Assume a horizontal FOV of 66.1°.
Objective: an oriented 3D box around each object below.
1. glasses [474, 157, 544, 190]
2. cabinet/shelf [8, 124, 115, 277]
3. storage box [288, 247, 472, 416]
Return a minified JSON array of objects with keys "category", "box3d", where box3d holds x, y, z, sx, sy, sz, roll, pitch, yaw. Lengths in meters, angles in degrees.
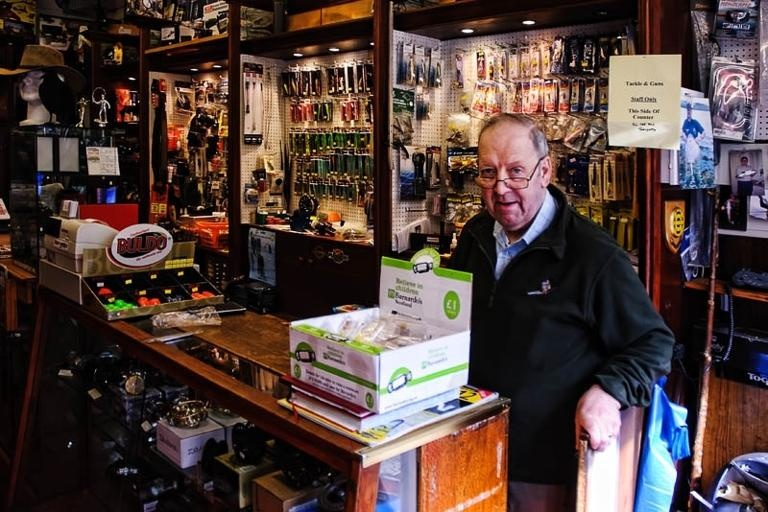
[{"category":"glasses","box3d":[0.597,-0.391,2.803,0.312,0.143,0.124,0,10,11]},{"category":"cabinet/shelf","box3d":[-2.544,-0.515,4.716,0.676,1.070,0.814,-11,14,-42]},{"category":"storage box","box3d":[0.011,0.275,2.419,0.613,0.564,0.650,-3,8,-43]}]
